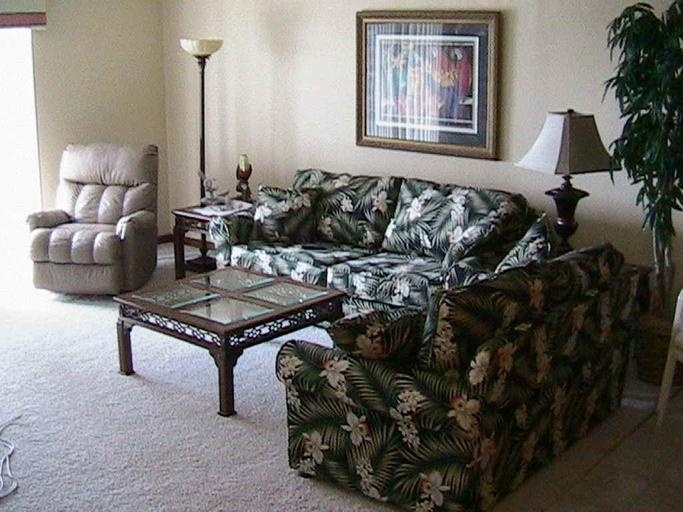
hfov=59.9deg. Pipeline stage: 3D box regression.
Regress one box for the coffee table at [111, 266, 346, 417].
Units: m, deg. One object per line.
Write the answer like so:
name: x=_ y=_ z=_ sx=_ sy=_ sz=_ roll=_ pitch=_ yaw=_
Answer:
coffee table: x=-0.621 y=0.328 z=3.658 sx=0.930 sy=0.467 sz=0.988 roll=12 pitch=16 yaw=41

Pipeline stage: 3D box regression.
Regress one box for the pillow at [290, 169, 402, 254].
pillow: x=0.045 y=-0.335 z=4.804 sx=0.562 sy=0.398 sz=0.201 roll=13 pitch=22 yaw=24

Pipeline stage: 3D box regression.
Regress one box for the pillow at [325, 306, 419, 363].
pillow: x=0.157 y=0.339 z=2.543 sx=0.256 sy=0.142 sz=0.263 roll=-5 pitch=-2 yaw=7

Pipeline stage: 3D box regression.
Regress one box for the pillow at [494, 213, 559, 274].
pillow: x=1.066 y=-0.073 z=3.460 sx=0.460 sy=0.179 sz=0.161 roll=-36 pitch=29 yaw=-27

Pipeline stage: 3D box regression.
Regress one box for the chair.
chair: x=-2.224 y=-0.357 z=5.374 sx=1.090 sy=1.285 sz=1.106 roll=13 pitch=18 yaw=37
